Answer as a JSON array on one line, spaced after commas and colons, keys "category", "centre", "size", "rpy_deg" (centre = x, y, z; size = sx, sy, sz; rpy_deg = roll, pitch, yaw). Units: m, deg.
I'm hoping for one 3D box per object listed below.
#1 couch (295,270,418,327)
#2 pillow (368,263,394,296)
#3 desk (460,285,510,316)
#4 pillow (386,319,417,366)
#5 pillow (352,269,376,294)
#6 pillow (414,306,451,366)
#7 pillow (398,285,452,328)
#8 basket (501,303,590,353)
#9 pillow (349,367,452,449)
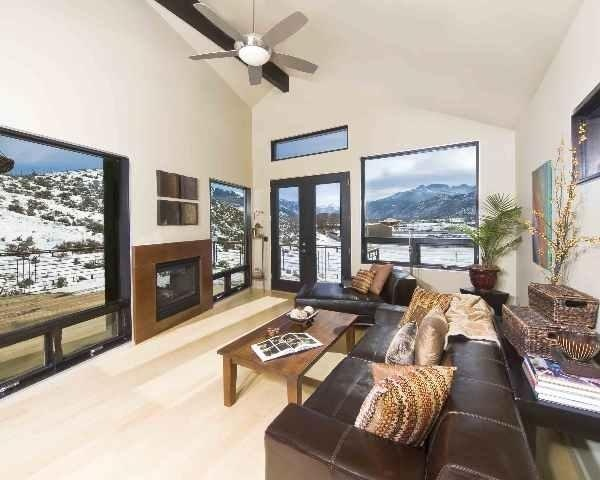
[{"category": "couch", "centre": [0.960, 0.797, 5.206], "size": [1.452, 0.806, 1.350], "rpy_deg": [6, -4, 38]}, {"category": "pillow", "centre": [1.106, 0.476, 5.098], "size": [0.210, 0.393, 0.470], "rpy_deg": [4, 13, -3]}, {"category": "desk", "centre": [2.351, 0.718, 4.748], "size": [0.495, 0.369, 0.415], "rpy_deg": [1, 2, 23]}, {"category": "pillow", "centre": [0.759, 0.809, 2.834], "size": [0.126, 0.297, 0.285], "rpy_deg": [23, 7, -5]}, {"category": "pillow", "centre": [0.851, 0.546, 5.017], "size": [0.092, 0.288, 0.295], "rpy_deg": [31, -9, -24]}, {"category": "pillow", "centre": [1.037, 0.678, 2.981], "size": [0.234, 0.427, 0.622], "rpy_deg": [0, 24, 23]}, {"category": "pillow", "centre": [1.285, 0.592, 3.705], "size": [0.611, 0.168, 0.635], "rpy_deg": [8, 1, 36]}, {"category": "basket", "centre": [1.741, 0.658, 2.704], "size": [0.289, 0.212, 0.418], "rpy_deg": [1, -1, 7]}, {"category": "pillow", "centre": [0.604, 0.954, 2.215], "size": [0.460, 0.471, 0.138], "rpy_deg": [15, 10, -23]}]
